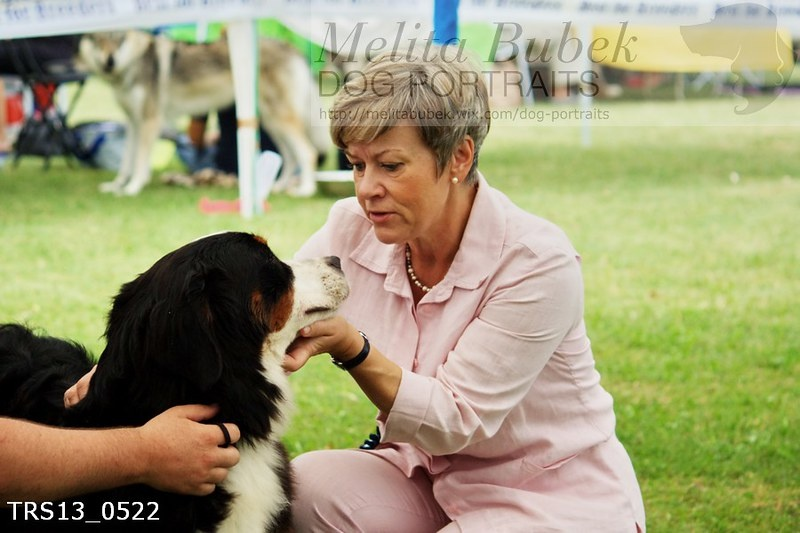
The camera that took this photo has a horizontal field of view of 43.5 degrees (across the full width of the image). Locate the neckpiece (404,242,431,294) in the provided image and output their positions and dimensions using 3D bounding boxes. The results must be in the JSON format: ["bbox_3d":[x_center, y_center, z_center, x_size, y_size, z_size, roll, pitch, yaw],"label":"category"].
[{"bbox_3d":[0.116,0.022,6.716,0.047,0.309,0.183,-27,1,27],"label":"neckpiece"}]

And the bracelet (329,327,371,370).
[{"bbox_3d":[-0.282,0.554,6.224,0.094,0.239,0.232,38,-4,-39],"label":"bracelet"}]
